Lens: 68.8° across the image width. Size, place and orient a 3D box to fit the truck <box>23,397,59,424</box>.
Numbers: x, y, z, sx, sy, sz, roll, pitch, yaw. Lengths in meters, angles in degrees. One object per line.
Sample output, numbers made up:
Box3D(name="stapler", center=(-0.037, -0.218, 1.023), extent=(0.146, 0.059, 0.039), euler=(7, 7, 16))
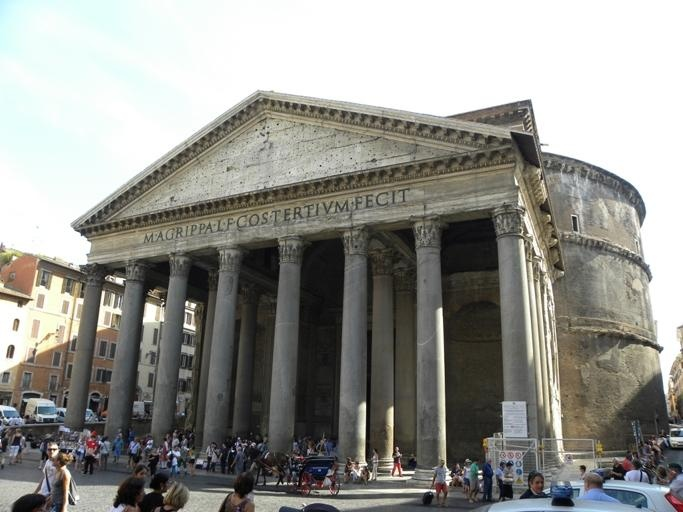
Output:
Box3D(name="truck", center=(-23.428, 12.160, 38.931), extent=(1.514, 1.607, 2.936), euler=(13, -27, -37))

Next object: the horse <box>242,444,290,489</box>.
Box3D(name="horse", center=(-2.925, 8.301, 19.951), extent=(2.255, 1.419, 0.567), euler=(-9, -15, 22))

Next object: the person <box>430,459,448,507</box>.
Box3D(name="person", center=(3.371, 7.606, 16.881), extent=(0.478, 1.296, 1.958), euler=(-2, -20, 10))
